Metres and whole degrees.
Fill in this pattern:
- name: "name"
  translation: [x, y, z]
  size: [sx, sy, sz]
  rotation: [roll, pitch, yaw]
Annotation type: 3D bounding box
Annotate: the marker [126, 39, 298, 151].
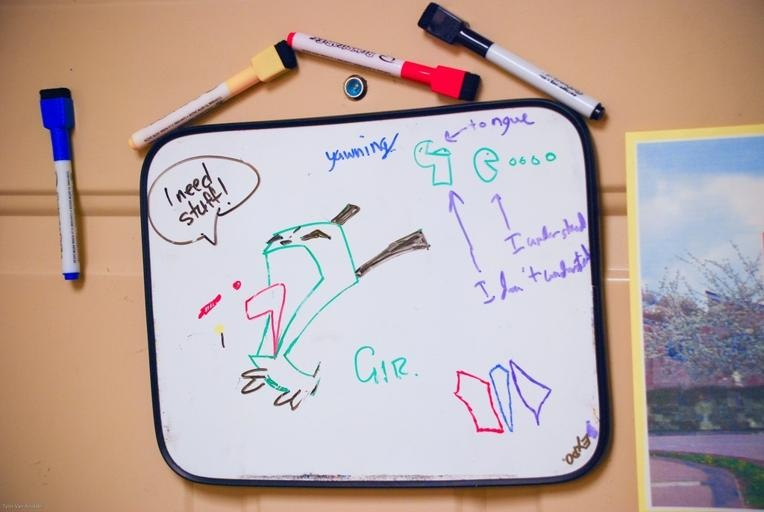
- name: "marker"
  translation: [-0.415, -0.381, 1.698]
  size: [0.075, 0.060, 0.498]
  rotation: [-8, 27, 42]
